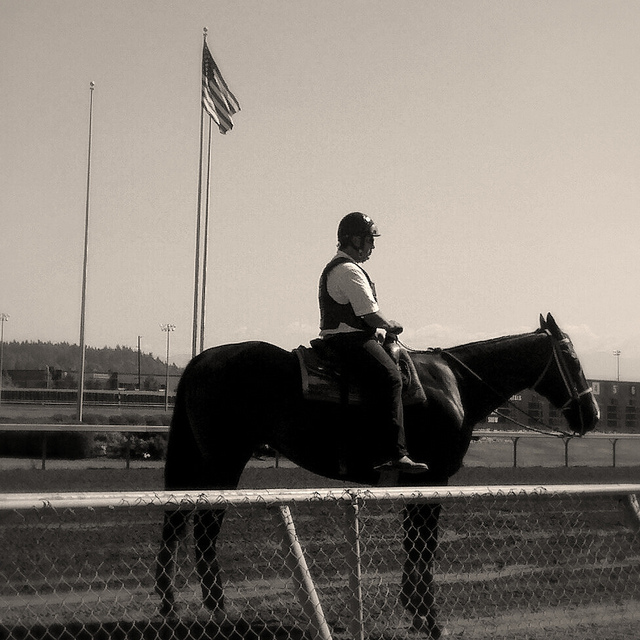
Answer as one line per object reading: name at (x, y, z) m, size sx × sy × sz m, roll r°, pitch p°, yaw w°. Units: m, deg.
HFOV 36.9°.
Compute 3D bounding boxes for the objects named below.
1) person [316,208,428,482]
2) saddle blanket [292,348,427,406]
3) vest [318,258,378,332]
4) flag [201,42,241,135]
person at (0.366, 0.166, 6.933) m, size 0.734 × 2.006 × 0.628 m, roll 0°, pitch -6°, yaw 0°
saddle blanket at (0.315, 0.508, 6.969) m, size 0.724 × 0.296 × 0.518 m, roll 3°, pitch -5°, yaw -15°
vest at (0.231, -0.174, 7.191) m, size 0.480 × 0.657 × 0.411 m, roll -4°, pitch 8°, yaw -4°
flag at (-2.462, -5.552, 22.904) m, size 0.915 × 2.611 × 0.294 m, roll -6°, pitch -17°, yaw -23°
